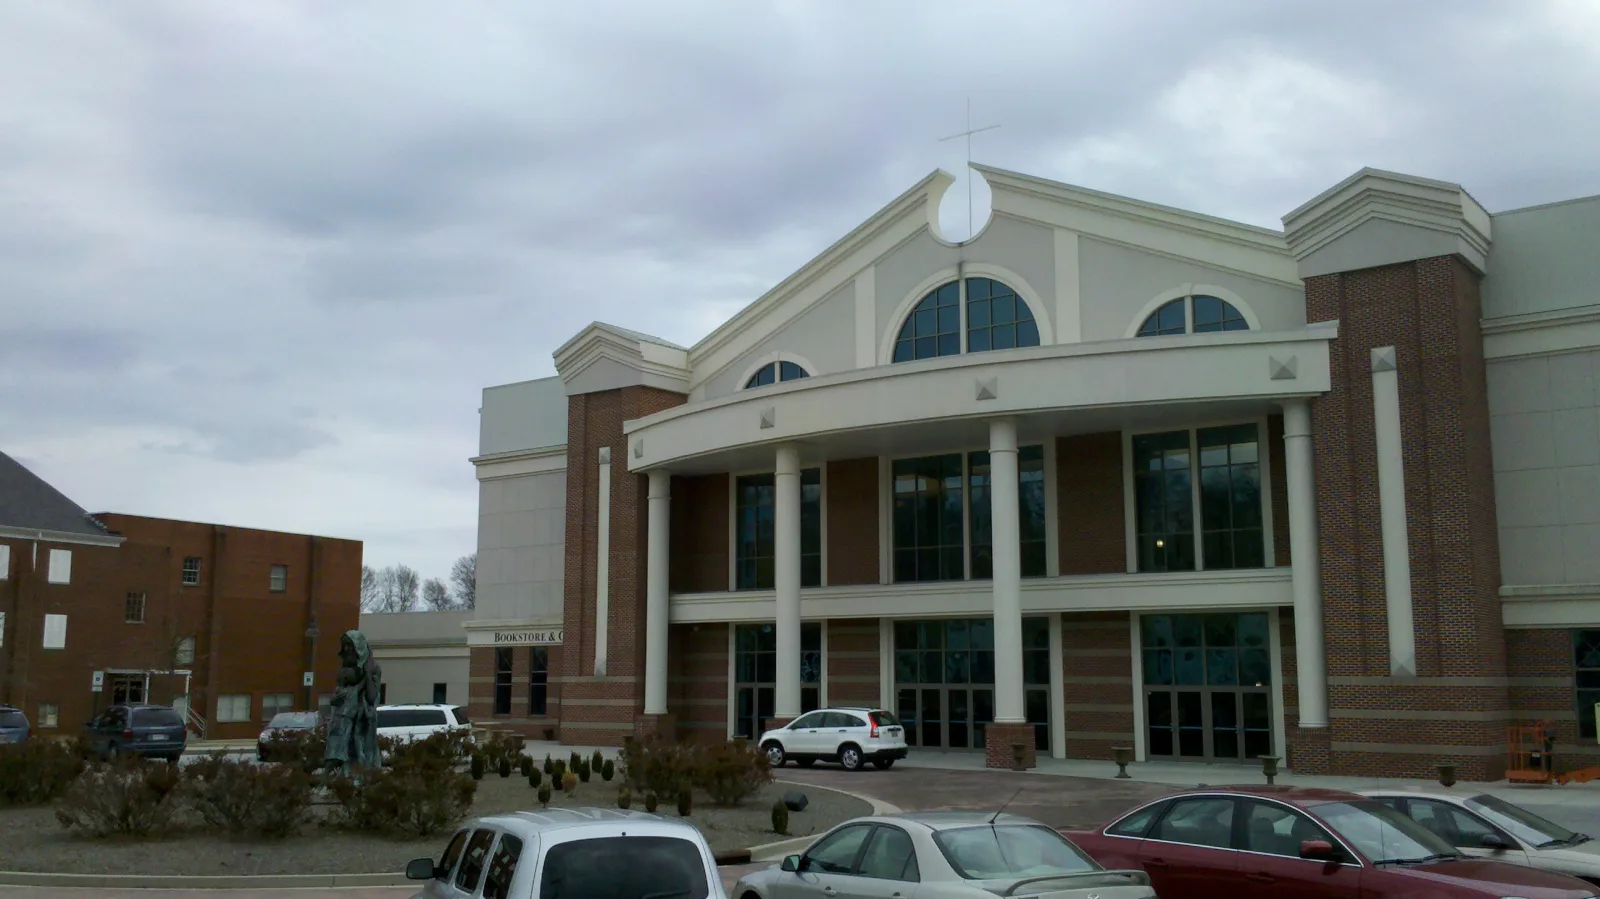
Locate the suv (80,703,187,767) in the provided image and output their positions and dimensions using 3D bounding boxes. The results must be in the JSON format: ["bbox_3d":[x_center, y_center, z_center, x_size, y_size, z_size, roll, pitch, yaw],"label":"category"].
[{"bbox_3d":[-26.663,11.250,52.963,3.378,2.187,1.847,-3,-13,8],"label":"suv"}]

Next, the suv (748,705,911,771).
[{"bbox_3d":[1.080,11.074,50.891,5.871,1.872,2.641,-2,-10,27],"label":"suv"}]

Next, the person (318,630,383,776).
[{"bbox_3d":[-13.856,7.705,40.919,1.487,4.098,0.831,3,-15,-18],"label":"person"}]
